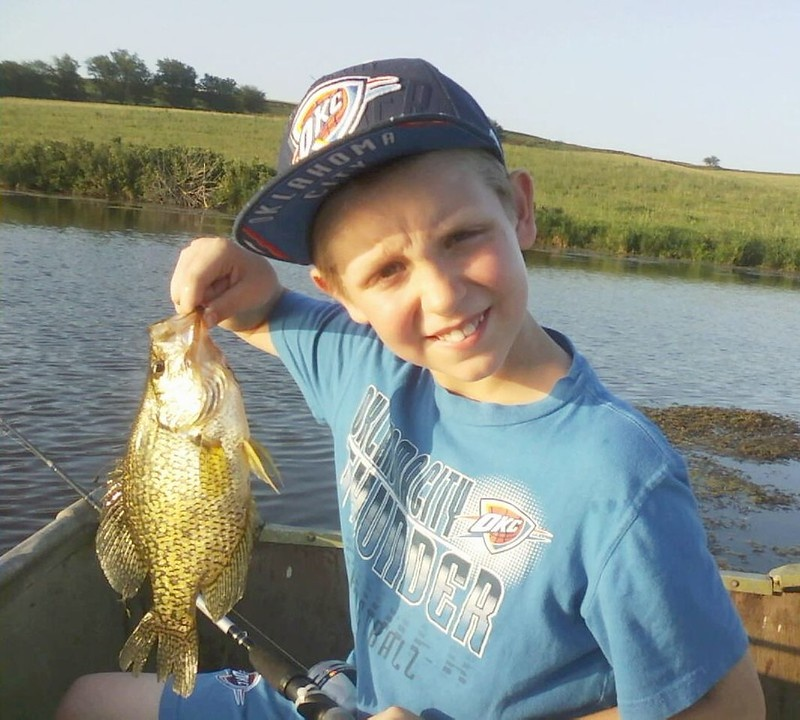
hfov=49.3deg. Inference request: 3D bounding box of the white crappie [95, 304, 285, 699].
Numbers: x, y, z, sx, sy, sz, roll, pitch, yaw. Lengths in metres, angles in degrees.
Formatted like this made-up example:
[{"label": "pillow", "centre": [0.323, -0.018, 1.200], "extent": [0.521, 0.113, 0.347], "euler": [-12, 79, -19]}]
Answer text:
[{"label": "white crappie", "centre": [-0.598, 0.428, 2.970], "extent": [0.699, 1.460, 0.434], "euler": [9, 6, 14]}]
